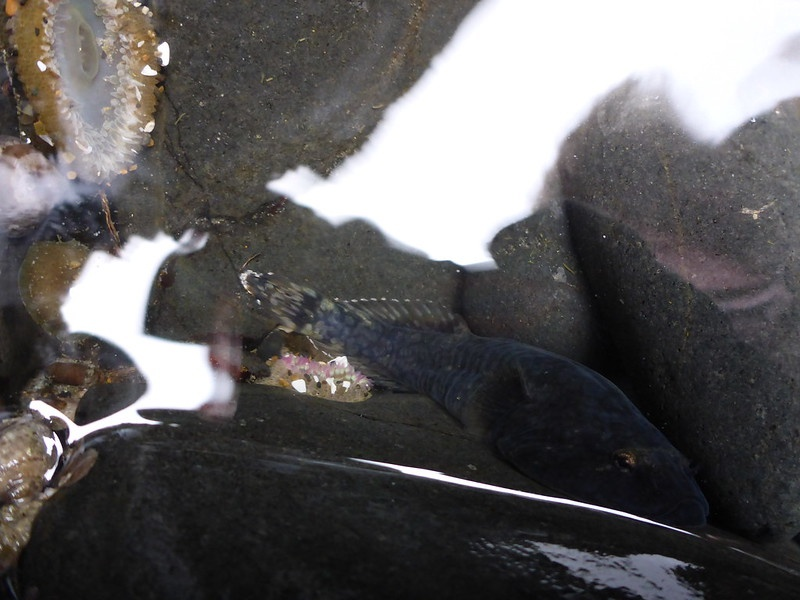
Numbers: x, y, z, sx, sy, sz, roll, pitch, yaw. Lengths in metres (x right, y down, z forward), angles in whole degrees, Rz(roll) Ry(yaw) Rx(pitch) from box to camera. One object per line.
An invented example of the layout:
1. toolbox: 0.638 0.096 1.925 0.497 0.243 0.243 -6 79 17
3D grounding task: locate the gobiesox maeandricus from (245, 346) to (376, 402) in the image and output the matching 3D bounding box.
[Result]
1. gobiesox maeandricus: -0.490 0.484 8.154 0.599 0.218 0.303 13 69 1
